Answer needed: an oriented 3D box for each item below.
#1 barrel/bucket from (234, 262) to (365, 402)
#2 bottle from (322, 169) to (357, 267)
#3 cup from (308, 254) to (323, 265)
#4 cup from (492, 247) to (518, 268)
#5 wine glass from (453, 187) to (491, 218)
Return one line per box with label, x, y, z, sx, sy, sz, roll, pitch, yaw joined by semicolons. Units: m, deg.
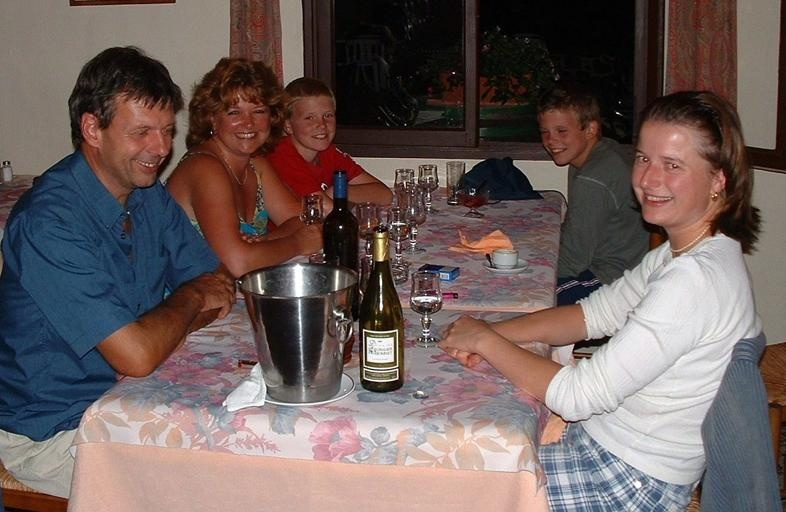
barrel/bucket;-0.223;0.138;1.413;0.328;0.257;0.298;0;15;0
bottle;-0.156;-0.096;1.704;0.100;0.303;0.230;-5;14;-6
cup;-0.248;0.012;1.885;0.041;0.027;0.041;1;6;0
cup;0.391;0.006;2.093;0.074;0.051;0.070;0;12;0
wine glass;0.365;-0.253;2.790;0.150;0.113;0.141;-1;10;-9
